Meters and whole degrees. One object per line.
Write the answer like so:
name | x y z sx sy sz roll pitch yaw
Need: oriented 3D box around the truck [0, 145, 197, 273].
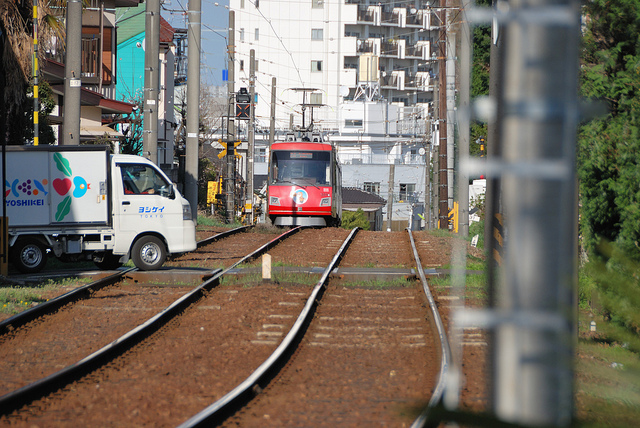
truck | -4.194 -0.043 15.190 3.177 1.981 1.843 0 0 -8

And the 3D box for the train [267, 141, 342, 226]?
train | -0.662 -1.037 28.103 2.289 2.888 1.150 0 3 -9
